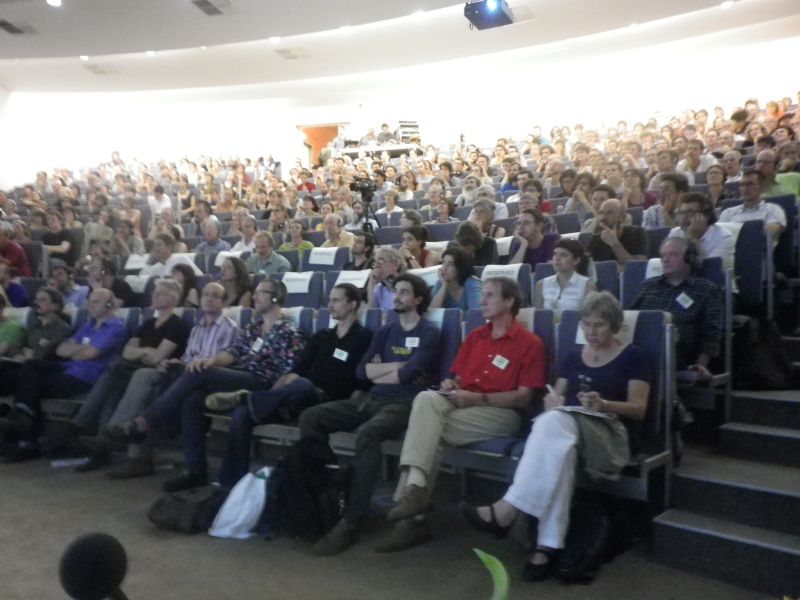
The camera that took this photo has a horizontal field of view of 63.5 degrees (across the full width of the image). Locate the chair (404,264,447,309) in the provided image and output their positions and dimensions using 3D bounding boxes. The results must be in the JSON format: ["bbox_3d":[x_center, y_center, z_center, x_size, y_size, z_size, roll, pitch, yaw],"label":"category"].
[{"bbox_3d":[0.201,-0.162,4.954,0.237,0.259,0.219,6,-10,-41],"label":"chair"}]

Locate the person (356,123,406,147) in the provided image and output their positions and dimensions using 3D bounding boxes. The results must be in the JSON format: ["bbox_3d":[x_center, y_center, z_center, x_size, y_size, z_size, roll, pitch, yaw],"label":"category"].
[{"bbox_3d":[-0.483,-4.195,16.782,1.229,0.415,0.917,-1,9,-6],"label":"person"}]

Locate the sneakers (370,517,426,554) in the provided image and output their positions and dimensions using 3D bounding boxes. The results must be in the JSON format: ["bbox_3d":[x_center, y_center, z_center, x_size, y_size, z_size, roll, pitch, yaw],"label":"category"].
[{"bbox_3d":[0.006,1.213,3.405,0.320,0.138,0.115,-4,0,-34],"label":"sneakers"}]

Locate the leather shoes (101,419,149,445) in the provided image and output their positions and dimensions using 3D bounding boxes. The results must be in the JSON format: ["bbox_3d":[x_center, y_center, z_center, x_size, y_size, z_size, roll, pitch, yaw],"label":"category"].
[{"bbox_3d":[-1.822,0.860,4.244,0.329,0.169,0.066,0,7,8],"label":"leather shoes"}]

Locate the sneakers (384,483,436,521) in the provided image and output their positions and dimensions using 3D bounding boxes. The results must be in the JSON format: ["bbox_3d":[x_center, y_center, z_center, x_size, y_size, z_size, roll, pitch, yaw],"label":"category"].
[{"bbox_3d":[0.051,1.046,3.358,0.223,0.189,0.111,-1,7,-1],"label":"sneakers"}]

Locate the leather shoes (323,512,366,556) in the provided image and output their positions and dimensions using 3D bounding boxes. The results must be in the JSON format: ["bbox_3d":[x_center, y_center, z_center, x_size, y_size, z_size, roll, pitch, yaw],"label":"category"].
[{"bbox_3d":[-0.292,1.232,3.389,0.096,0.182,0.270,17,0,40],"label":"leather shoes"}]

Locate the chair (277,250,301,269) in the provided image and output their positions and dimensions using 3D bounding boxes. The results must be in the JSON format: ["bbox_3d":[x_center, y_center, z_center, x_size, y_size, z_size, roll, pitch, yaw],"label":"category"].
[{"bbox_3d":[-1.161,-0.424,6.786,0.179,0.237,0.195,0,-3,-5],"label":"chair"}]

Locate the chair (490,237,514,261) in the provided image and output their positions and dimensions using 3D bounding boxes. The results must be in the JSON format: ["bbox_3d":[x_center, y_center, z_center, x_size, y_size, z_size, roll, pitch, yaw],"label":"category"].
[{"bbox_3d":[0.913,-0.469,5.783,0.176,0.176,0.179,0,7,-6],"label":"chair"}]

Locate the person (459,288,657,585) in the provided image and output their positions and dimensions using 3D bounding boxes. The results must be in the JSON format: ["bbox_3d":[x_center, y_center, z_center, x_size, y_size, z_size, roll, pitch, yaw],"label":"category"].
[{"bbox_3d":[0.846,0.629,3.277,0.569,1.298,0.885,5,9,42],"label":"person"}]

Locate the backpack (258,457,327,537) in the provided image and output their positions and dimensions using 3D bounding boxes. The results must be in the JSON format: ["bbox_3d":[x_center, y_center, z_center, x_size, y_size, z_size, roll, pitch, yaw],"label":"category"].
[{"bbox_3d":[-0.585,1.089,3.523,0.363,0.354,0.151,-1,7,5],"label":"backpack"}]

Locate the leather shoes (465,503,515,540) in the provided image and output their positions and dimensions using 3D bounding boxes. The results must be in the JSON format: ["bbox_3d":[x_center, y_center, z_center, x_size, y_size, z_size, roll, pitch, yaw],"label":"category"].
[{"bbox_3d":[0.439,1.084,3.225,0.235,0.099,0.118,33,2,7],"label":"leather shoes"}]

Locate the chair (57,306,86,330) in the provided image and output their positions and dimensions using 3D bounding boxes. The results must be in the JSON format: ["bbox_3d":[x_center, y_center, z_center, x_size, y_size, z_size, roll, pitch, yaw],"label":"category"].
[{"bbox_3d":[-2.766,0.154,5.510,0.170,0.224,0.184,2,-15,-11],"label":"chair"}]

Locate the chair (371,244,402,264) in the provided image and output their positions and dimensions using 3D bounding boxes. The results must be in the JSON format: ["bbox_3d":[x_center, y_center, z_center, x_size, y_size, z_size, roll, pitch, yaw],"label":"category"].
[{"bbox_3d":[-0.106,-0.360,4.903,0.169,0.129,0.152,7,13,-24],"label":"chair"}]

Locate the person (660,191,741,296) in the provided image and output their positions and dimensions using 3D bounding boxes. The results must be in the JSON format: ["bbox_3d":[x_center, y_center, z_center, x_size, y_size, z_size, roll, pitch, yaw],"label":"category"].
[{"bbox_3d":[2.171,-0.333,4.663,0.493,0.824,0.447,1,4,24],"label":"person"}]

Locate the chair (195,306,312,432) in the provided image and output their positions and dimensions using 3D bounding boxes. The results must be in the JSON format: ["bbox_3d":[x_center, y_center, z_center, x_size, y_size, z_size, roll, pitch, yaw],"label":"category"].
[{"bbox_3d":[-1.014,0.454,4.454,0.721,0.868,0.545,28,-19,-33],"label":"chair"}]

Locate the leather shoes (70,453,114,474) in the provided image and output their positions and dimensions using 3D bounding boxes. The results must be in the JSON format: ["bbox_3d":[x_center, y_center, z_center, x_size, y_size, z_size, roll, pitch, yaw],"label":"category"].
[{"bbox_3d":[-2.071,1.098,4.361,0.281,0.122,0.092,0,-7,-24],"label":"leather shoes"}]

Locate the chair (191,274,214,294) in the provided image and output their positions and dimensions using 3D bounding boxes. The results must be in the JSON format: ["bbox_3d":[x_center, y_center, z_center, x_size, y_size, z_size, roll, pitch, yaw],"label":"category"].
[{"bbox_3d":[-1.843,-0.151,6.023,0.138,0.198,0.156,1,8,-18],"label":"chair"}]

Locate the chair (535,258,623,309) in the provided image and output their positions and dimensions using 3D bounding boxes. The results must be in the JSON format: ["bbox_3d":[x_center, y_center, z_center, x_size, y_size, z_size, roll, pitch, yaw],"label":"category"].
[{"bbox_3d":[1.297,-0.025,4.520,0.543,0.373,0.288,-1,-3,19],"label":"chair"}]

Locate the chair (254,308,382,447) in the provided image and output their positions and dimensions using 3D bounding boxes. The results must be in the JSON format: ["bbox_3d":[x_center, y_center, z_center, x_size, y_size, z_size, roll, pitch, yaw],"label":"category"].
[{"bbox_3d":[-0.542,0.394,4.072,0.575,0.733,1.119,14,11,22],"label":"chair"}]

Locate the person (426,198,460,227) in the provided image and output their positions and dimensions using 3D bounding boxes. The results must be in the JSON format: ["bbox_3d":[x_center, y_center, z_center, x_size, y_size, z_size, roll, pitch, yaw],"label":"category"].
[{"bbox_3d":[0.497,-0.992,7.151,0.320,0.286,0.723,-1,7,3],"label":"person"}]

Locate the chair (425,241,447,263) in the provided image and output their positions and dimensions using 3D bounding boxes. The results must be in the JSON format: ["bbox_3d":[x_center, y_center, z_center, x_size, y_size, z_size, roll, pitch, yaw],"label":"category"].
[{"bbox_3d":[0.324,-0.445,5.759,0.202,0.249,0.202,2,6,5],"label":"chair"}]

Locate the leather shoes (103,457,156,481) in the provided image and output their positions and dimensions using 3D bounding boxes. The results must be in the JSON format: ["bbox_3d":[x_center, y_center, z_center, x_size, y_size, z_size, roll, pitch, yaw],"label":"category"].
[{"bbox_3d":[-1.761,1.107,4.277,0.318,0.218,0.108,8,-3,-13],"label":"leather shoes"}]

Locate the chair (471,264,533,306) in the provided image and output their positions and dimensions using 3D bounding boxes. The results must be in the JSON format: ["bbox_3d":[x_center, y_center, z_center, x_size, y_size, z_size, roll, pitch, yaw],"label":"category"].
[{"bbox_3d":[0.768,-0.111,4.811,0.321,0.318,0.287,1,-4,24],"label":"chair"}]

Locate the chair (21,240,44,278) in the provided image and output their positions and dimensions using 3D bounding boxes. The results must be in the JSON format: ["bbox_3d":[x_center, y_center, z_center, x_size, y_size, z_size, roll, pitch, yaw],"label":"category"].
[{"bbox_3d":[-4.268,-0.482,7.549,0.315,0.422,0.354,-1,-3,-6],"label":"chair"}]

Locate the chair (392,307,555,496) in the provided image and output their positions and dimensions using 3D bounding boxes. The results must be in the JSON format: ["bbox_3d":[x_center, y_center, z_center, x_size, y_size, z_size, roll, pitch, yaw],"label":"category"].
[{"bbox_3d":[0.372,0.520,3.665,0.789,1.332,0.682,16,-9,-36],"label":"chair"}]

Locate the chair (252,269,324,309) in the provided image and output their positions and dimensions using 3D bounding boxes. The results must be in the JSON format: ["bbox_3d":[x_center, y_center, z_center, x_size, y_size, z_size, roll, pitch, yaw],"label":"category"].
[{"bbox_3d":[-0.873,-0.086,5.647,0.367,0.339,0.308,-3,-7,10],"label":"chair"}]

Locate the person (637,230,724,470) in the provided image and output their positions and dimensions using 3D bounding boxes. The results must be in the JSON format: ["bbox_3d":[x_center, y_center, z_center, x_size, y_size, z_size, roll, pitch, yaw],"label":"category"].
[{"bbox_3d":[1.713,0.218,4.107,0.596,1.250,0.549,-5,17,14],"label":"person"}]

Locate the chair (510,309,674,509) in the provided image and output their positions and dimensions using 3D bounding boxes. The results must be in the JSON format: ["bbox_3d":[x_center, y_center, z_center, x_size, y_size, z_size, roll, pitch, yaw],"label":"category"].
[{"bbox_3d":[1.055,0.613,3.466,0.764,1.089,0.618,4,6,41],"label":"chair"}]
